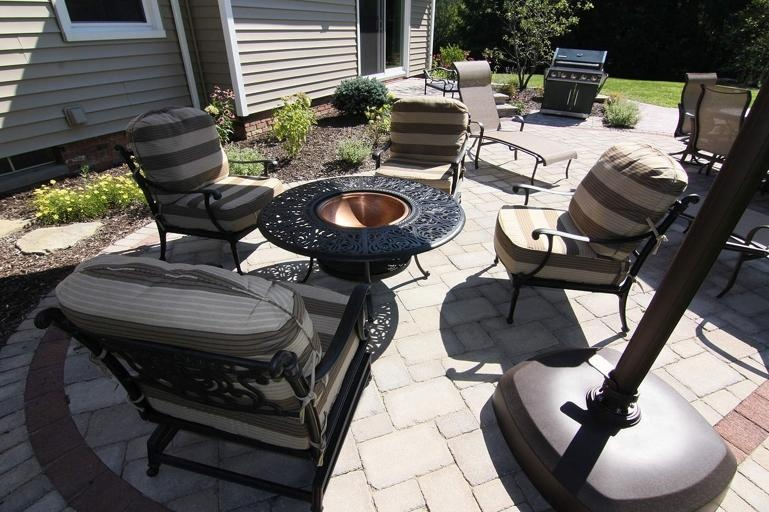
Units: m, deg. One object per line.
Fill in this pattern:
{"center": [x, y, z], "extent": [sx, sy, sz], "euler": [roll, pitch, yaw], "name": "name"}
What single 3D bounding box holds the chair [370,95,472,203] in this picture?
{"center": [0.487, -1.236, 6.066], "extent": [1.151, 1.193, 1.051], "euler": [15, 42, 23], "name": "chair"}
